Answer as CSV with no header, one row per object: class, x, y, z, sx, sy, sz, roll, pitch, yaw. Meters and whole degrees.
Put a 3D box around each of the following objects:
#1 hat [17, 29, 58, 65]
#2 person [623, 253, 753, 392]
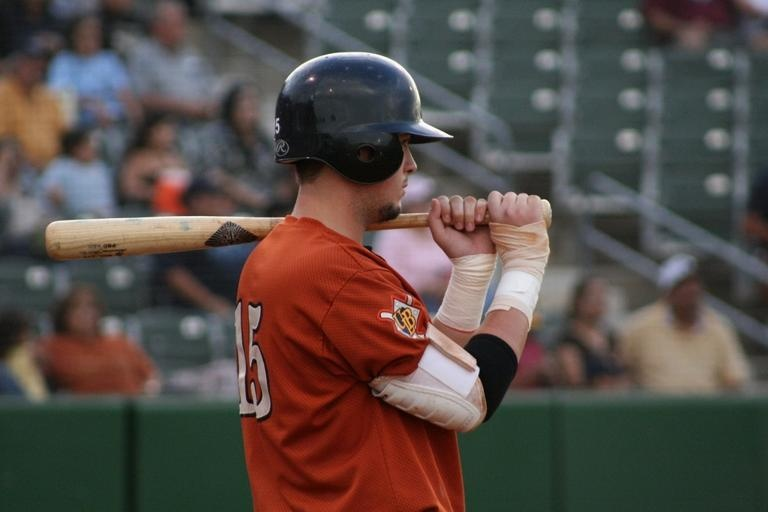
hat,-2.361,-1.453,10.576,0.284,0.213,0.115,2,11,21
person,1.783,0.415,8.905,0.774,0.754,0.417,-1,0,-8
